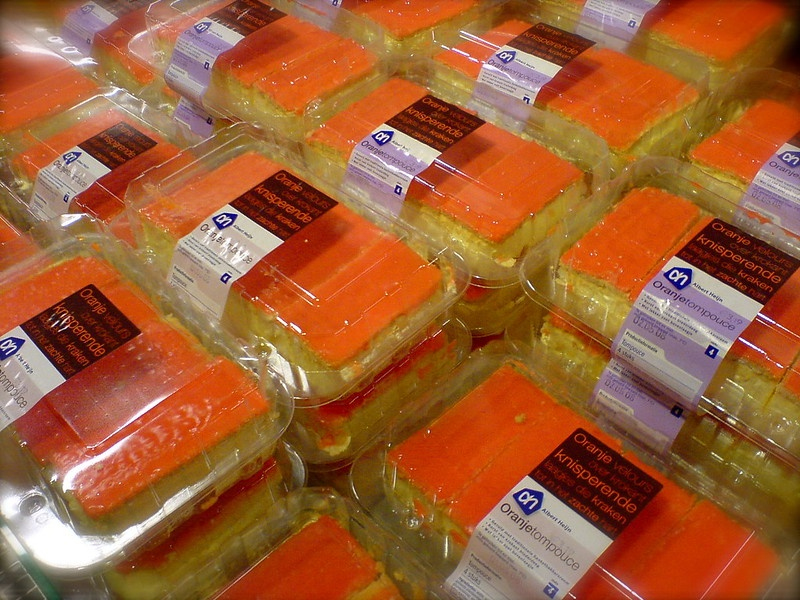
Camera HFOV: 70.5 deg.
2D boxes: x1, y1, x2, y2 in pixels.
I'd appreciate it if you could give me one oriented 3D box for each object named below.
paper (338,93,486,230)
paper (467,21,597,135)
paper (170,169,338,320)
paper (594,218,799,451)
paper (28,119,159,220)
[{"bbox_3d":[0.024,-0.567,2.137,0.352,0.136,0.509,34,67,28],"label":"paper"},{"bbox_3d":[0.559,-1.012,2.405,0.367,0.122,0.509,30,68,28],"label":"paper"},{"bbox_3d":[-0.493,-0.204,2.004,0.466,0.214,0.625,38,50,21],"label":"paper"},{"bbox_3d":[0.831,0.102,1.641,0.418,0.169,0.632,38,87,28],"label":"paper"},{"bbox_3d":[-1.227,-0.472,2.399,0.462,0.243,0.341,-41,59,-9],"label":"paper"}]
